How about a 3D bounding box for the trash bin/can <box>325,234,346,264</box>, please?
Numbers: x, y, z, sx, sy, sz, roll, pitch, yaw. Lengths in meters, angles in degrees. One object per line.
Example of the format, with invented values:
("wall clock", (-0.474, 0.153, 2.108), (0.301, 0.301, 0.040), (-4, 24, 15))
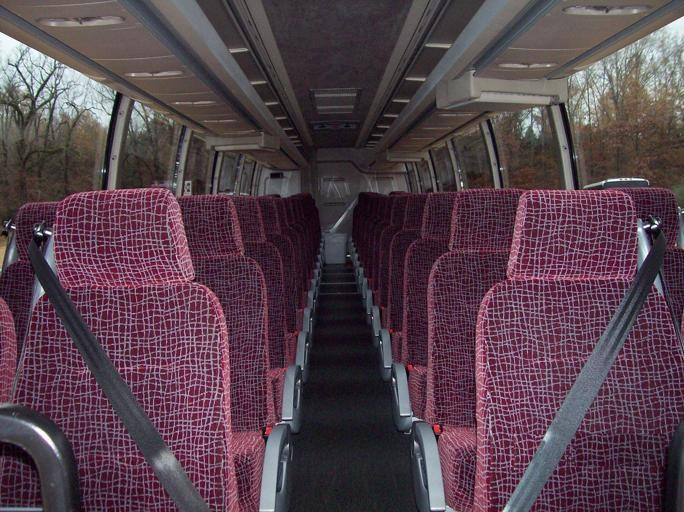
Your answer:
("trash bin/can", (-0.208, -0.256, 14.738), (0.669, 0.816, 0.773), (0, 10, 0))
